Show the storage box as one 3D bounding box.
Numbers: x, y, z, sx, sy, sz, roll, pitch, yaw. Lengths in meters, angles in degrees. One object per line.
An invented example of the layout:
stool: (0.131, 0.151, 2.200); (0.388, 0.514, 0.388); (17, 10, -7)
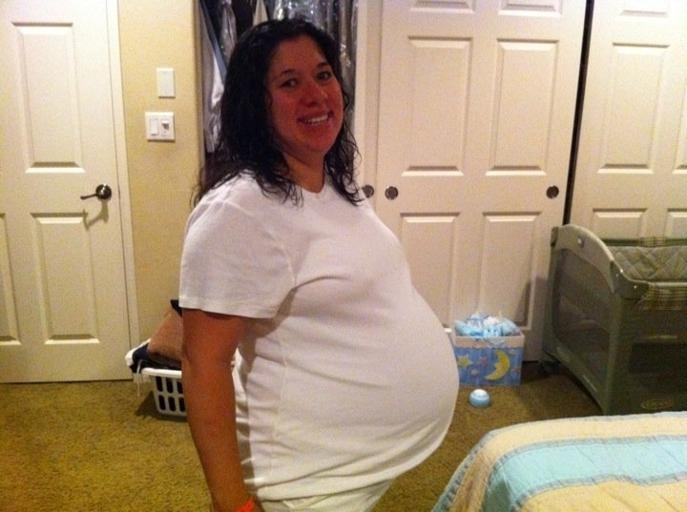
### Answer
storage box: (0.825, 0.520, 3.145); (0.389, 0.456, 0.425); (1, -8, 3)
